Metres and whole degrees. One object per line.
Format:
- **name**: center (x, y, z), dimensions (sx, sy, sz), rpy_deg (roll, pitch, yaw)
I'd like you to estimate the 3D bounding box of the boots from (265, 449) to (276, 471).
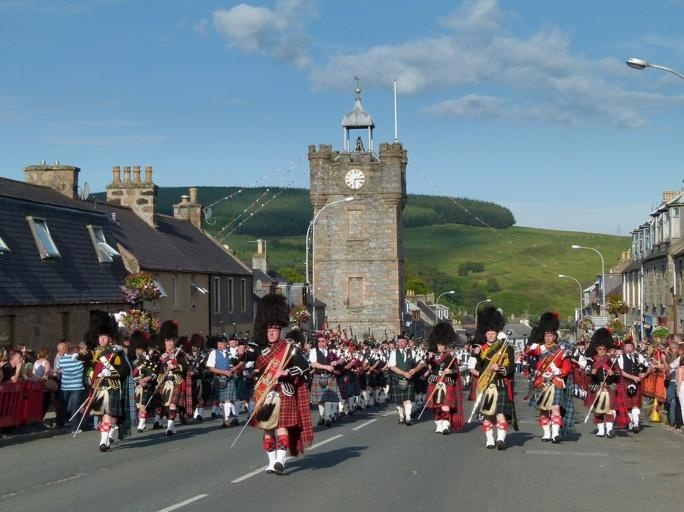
- **boots**: center (-1.595, 4.684, 25.673), dimensions (0.240, 0.492, 0.480), rpy_deg (0, 34, 4)
